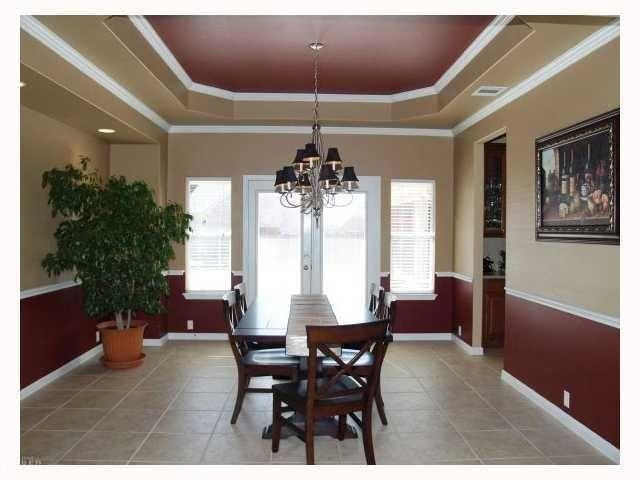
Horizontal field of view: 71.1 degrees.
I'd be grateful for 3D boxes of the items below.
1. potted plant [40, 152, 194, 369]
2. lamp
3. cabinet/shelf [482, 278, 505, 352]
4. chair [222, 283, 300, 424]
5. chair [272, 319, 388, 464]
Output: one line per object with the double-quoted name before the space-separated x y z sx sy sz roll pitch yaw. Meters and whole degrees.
"potted plant" -2.350 0.285 5.146 1.409 2.380 0.713 -3 7 -30
"lamp" -0.039 -1.042 4.280 0.770 1.624 0.801 0 3 -3
"cabinet/shelf" 2.231 0.946 5.787 0.310 0.958 0.088 0 6 -8
"chair" -0.520 0.944 4.425 0.952 1.569 0.955 -1 5 -5
"chair" 0.075 1.127 3.379 0.658 1.117 0.739 2 1 -29
